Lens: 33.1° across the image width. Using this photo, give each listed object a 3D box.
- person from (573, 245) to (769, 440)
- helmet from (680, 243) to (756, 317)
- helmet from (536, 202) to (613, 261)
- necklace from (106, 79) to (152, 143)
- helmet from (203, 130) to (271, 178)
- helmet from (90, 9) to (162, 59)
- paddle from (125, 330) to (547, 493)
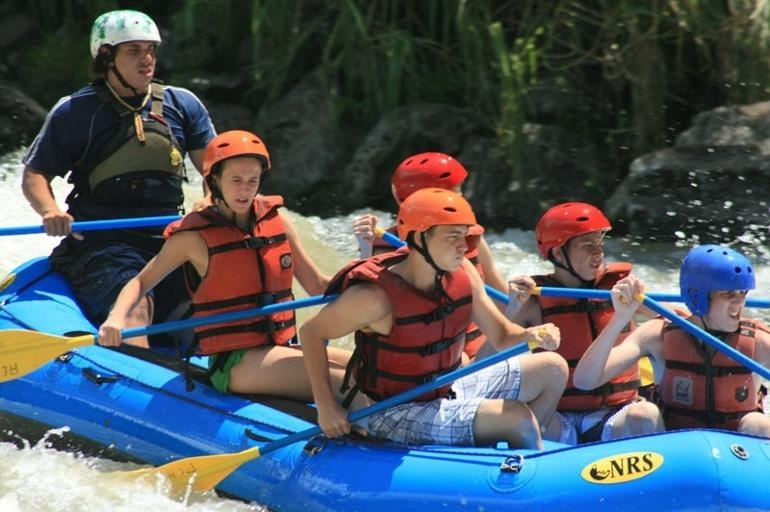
[{"bbox_3d":[2.041,0.676,9.326,1.122,1.315,0.952,5,-38,-9],"label":"person"},{"bbox_3d":[2.410,0.169,9.250,0.563,0.483,0.461,1,4,26],"label":"helmet"},{"bbox_3d":[1.376,-0.196,9.683,0.491,0.322,0.373,12,16,27],"label":"helmet"},{"bbox_3d":[-2.022,-1.171,10.439,0.350,0.459,0.172,-15,3,-14],"label":"necklace"},{"bbox_3d":[-1.079,-0.740,9.469,0.474,0.337,0.255,1,7,-10],"label":"helmet"},{"bbox_3d":[-2.055,-1.769,10.293,0.462,0.250,0.408,0,4,26],"label":"helmet"},{"bbox_3d":[-0.261,1.132,9.193,3.355,0.371,0.136,-18,5,1],"label":"paddle"}]
